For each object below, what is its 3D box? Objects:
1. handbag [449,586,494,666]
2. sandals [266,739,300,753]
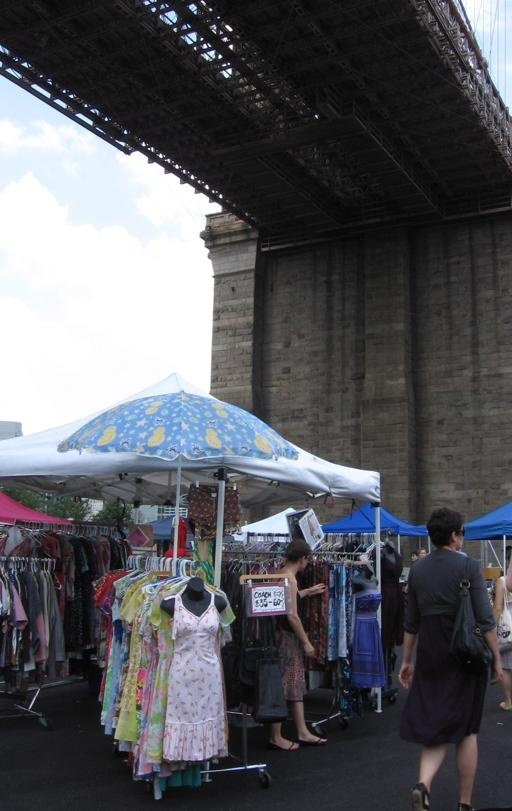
[{"bbox_3d":[1.055,1.077,3.984,0.196,0.409,0.155,0,-11,9],"label":"handbag"},{"bbox_3d":[0.216,2.548,6.092,0.156,0.055,0.091,-5,-14,9],"label":"sandals"}]
